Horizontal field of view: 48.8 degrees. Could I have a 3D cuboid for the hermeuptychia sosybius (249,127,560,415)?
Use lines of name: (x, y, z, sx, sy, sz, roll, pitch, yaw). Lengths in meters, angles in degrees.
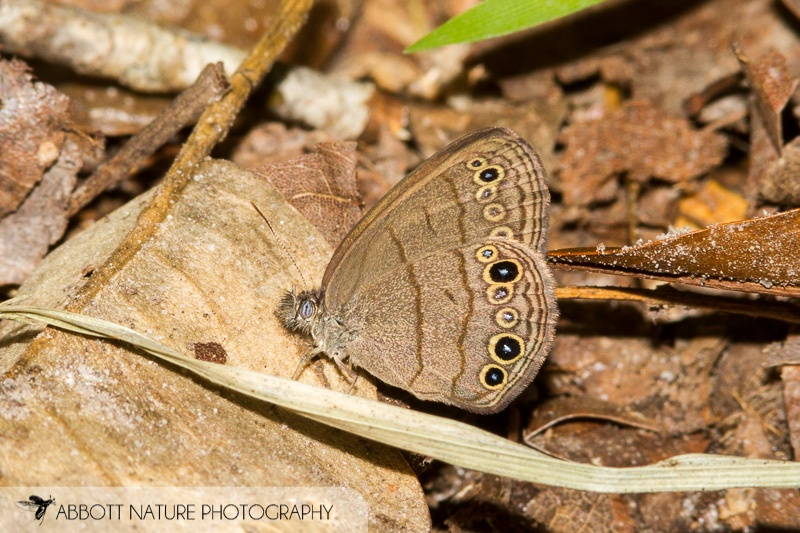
hermeuptychia sosybius: (0.298, 0.136, 5.249, 1.734, 0.473, 1.299, -40, 84, -3)
